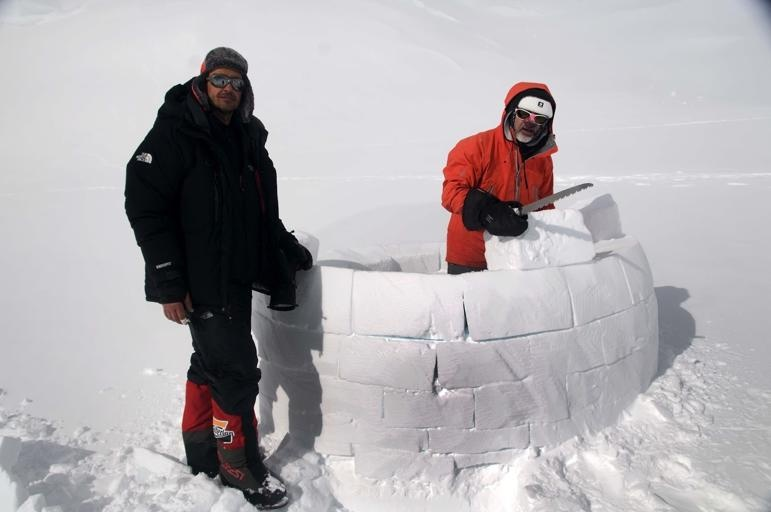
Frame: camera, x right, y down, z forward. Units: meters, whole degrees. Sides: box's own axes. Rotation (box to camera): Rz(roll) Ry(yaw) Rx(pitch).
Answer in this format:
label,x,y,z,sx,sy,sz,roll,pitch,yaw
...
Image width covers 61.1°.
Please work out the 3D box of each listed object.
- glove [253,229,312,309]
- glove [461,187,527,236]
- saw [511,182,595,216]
label,x,y,z,sx,sy,sz,roll,pitch,yaw
glove,-0.677,0.113,4.470,0.265,0.620,0.412,-1,-2,3
glove,0.714,-0.283,4.340,0.364,0.288,0.180,11,45,11
saw,1.147,-0.391,4.544,0.493,0.263,0.626,-1,-6,11
